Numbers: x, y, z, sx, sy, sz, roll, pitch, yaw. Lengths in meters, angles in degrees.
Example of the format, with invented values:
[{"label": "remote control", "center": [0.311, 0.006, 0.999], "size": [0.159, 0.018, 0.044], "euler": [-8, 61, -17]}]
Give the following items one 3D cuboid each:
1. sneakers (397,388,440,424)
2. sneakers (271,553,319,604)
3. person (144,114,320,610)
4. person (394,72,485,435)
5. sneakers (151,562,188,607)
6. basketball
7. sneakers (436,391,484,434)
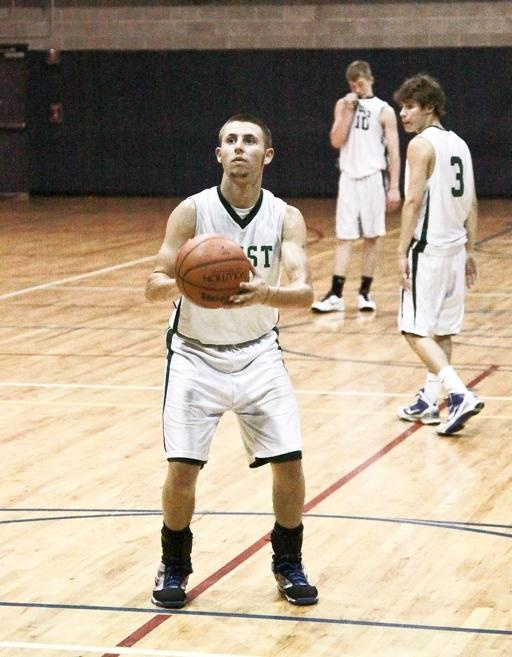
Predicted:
[{"label": "sneakers", "center": [0.813, 0.404, 3.850], "size": [0.264, 0.171, 0.111], "euler": [6, 8, 36]}, {"label": "sneakers", "center": [0.098, 0.648, 1.967], "size": [0.058, 0.066, 0.157], "euler": [-2, 1, -16]}, {"label": "person", "center": [-0.061, 0.088, 1.905], "size": [0.428, 1.228, 0.472], "euler": [0, 6, 3]}, {"label": "person", "center": [0.881, -0.398, 3.703], "size": [0.457, 1.799, 0.661], "euler": [1, 6, 16]}, {"label": "sneakers", "center": [-0.216, 0.655, 1.916], "size": [0.094, 0.092, 0.142], "euler": [-1, 6, -7]}, {"label": "basketball", "center": [-0.114, -0.123, 1.730], "size": [0.175, 0.153, 0.162], "euler": [3, -1, -8]}, {"label": "sneakers", "center": [0.939, 0.403, 3.536], "size": [0.170, 0.239, 0.229], "euler": [0, 6, 2]}]
